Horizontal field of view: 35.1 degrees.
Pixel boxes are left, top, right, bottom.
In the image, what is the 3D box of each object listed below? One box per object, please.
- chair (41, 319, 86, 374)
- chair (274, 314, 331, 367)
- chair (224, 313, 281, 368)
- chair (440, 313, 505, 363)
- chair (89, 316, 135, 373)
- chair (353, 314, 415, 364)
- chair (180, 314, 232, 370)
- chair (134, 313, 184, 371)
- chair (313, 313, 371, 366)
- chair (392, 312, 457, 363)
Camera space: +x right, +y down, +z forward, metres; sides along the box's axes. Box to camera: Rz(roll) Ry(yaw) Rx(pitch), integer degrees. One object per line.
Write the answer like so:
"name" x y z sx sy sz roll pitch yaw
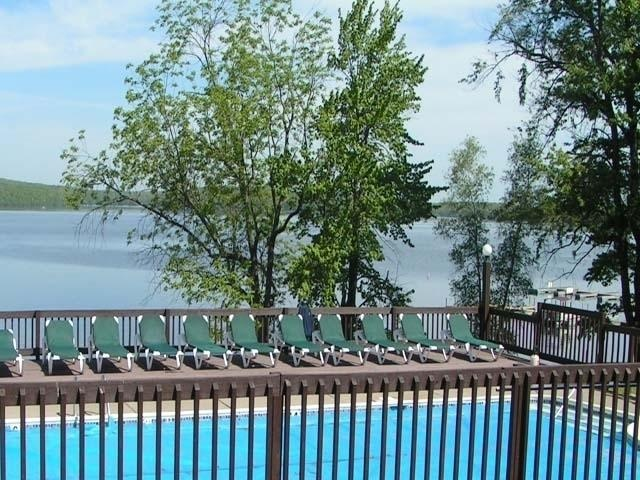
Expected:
"chair" -6.084 2.494 23.809 0.774 1.056 1.353 0 6 -18
"chair" -0.454 2.476 24.838 0.756 1.127 1.467 2 3 -28
"chair" -1.670 2.464 24.616 0.812 1.184 1.503 2 3 -32
"chair" 3.867 2.450 25.603 0.834 1.176 1.533 0 3 -32
"chair" -5.009 2.467 24.005 0.739 1.086 1.426 1 6 -27
"chair" 1.563 2.448 25.073 0.735 1.109 1.418 -2 6 -23
"chair" -2.775 2.459 24.318 0.791 1.151 1.518 3 2 -32
"chair" -3.889 2.451 24.230 0.765 1.219 1.406 4 3 -29
"chair" 0.532 2.483 25.017 0.758 1.112 1.404 1 7 -30
"chair" 2.629 2.466 25.340 0.807 1.142 1.486 3 2 -33
